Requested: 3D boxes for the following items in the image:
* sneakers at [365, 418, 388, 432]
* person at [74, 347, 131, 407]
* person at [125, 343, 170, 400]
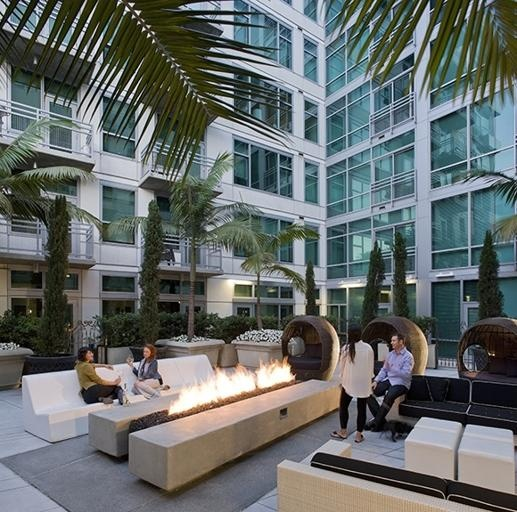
[{"bbox_3d":[1.683,2.438,6.513,0.162,0.144,0.322,-2,2,39],"label":"sneakers"},{"bbox_3d":[-2.444,1.815,7.010,0.716,1.177,0.850,-2,-1,-34],"label":"person"},{"bbox_3d":[-1.786,1.902,7.395,0.676,0.834,0.437,4,-8,-34],"label":"person"}]
